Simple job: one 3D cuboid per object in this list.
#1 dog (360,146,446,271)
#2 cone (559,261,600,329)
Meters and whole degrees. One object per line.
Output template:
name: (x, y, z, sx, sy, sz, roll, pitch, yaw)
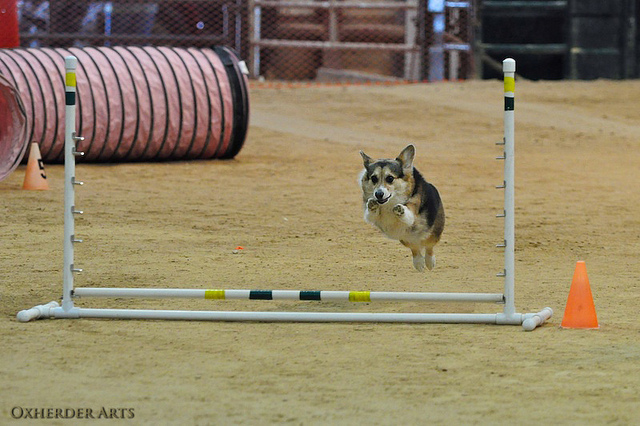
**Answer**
dog: (1.406, -0.017, 24.651, 1.112, 1.549, 2.448, 0, -15, 27)
cone: (4.082, 1.328, 23.113, 0.610, 1.005, 0.363, 4, 9, 9)
